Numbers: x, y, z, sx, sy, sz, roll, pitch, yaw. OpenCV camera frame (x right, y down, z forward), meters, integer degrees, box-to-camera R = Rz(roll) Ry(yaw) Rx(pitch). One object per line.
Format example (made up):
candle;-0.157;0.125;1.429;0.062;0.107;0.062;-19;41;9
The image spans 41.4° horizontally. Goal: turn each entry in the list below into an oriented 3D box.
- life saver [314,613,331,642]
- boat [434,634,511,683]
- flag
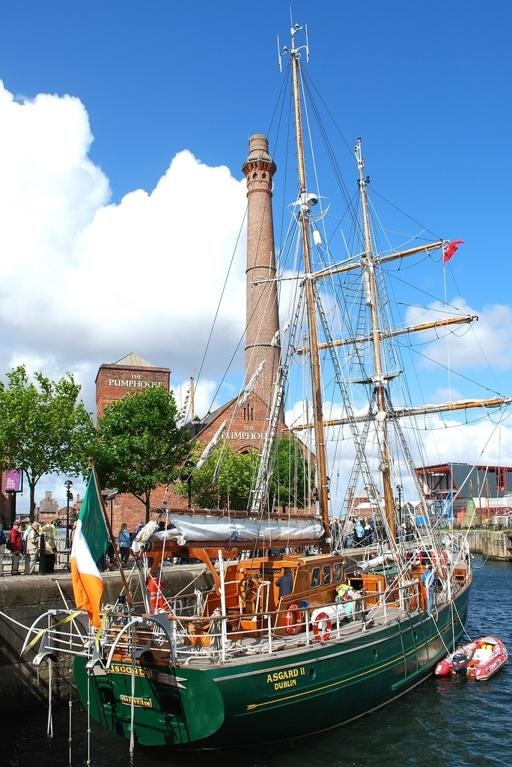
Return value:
life saver;1.192;4.412;12.239;0.127;0.497;0.500;-6;-53;32
boat;5.720;7.080;17.326;0.993;0.626;1.994;-12;-16;35
flag;-2.510;2.490;10.373;0.609;2.440;0.818;11;0;-16
